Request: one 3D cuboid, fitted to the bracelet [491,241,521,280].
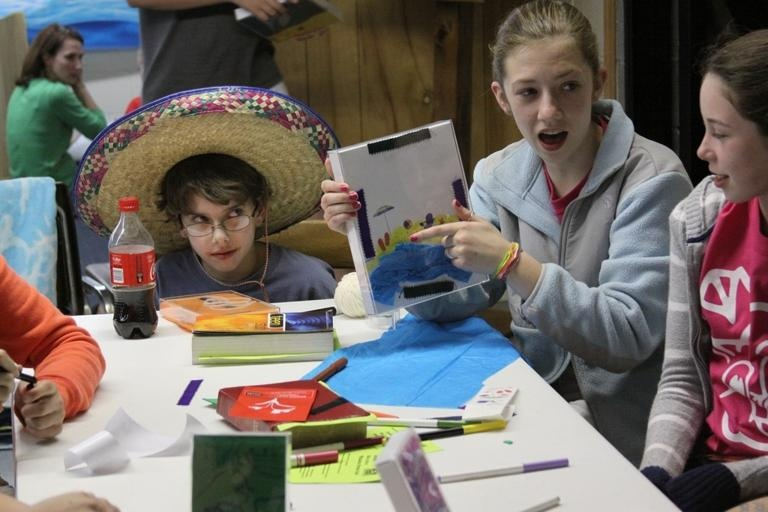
[{"bbox_3d":[0.292,0.013,1.581,0.066,0.079,0.029,-9,9,-20],"label":"bracelet"}]

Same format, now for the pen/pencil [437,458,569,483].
[{"bbox_3d":[0.205,0.365,1.139,0.249,0.022,0.025,-6,42,-10],"label":"pen/pencil"}]

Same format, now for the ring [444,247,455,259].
[{"bbox_3d":[0.155,-0.008,1.587,0.025,0.009,0.022,32,-4,22],"label":"ring"}]

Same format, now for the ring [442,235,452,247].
[{"bbox_3d":[0.148,-0.034,1.577,0.021,0.023,0.023,-8,5,1],"label":"ring"}]
